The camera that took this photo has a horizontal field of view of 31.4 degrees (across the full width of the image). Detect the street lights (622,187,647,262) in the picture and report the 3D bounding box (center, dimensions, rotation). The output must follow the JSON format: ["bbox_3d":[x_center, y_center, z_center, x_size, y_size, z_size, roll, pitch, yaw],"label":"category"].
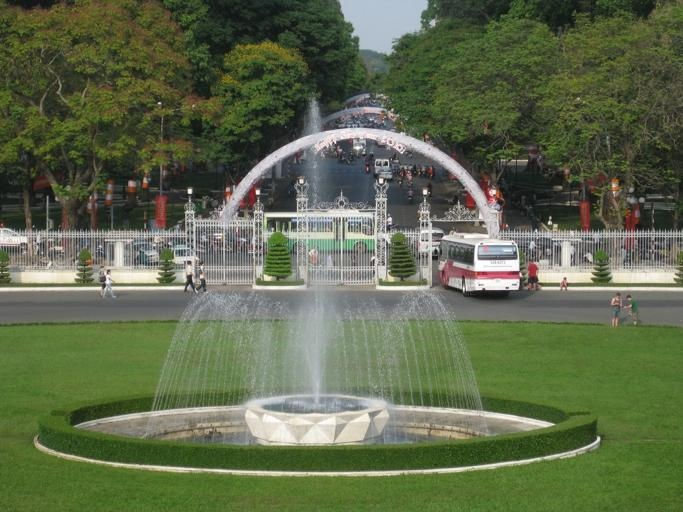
[{"bbox_3d":[15.875,-1.725,65.973,0.614,4.580,0.799,-5,11,-7],"label":"street lights"}]

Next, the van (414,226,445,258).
[{"bbox_3d":[5.165,-0.854,71.959,1.420,1.424,2.368,0,-2,-2],"label":"van"}]

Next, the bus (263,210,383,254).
[{"bbox_3d":[-1.745,-1.219,66.155,7.454,3.301,2.551,-1,6,-2],"label":"bus"}]

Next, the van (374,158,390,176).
[{"bbox_3d":[3.408,-7.592,103.273,1.077,1.116,1.928,0,15,1],"label":"van"}]
